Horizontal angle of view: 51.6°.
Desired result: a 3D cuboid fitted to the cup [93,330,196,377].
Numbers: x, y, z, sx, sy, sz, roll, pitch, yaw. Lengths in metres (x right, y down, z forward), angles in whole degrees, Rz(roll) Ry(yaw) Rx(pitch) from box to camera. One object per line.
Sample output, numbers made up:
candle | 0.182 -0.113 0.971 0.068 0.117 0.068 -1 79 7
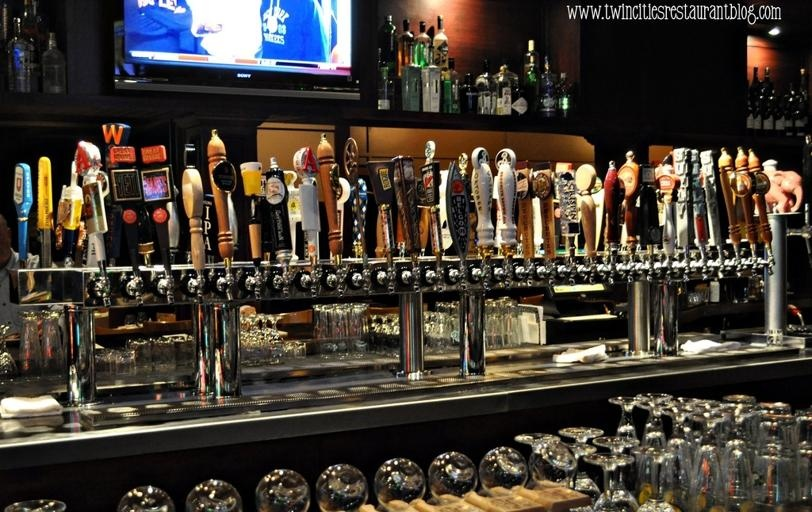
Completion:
cup | -1.078 0.416 3.472 0.390 0.157 0.285 -4 1 -23

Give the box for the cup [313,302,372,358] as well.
cup | -0.290 0.317 3.650 0.218 0.211 0.214 -1 0 0

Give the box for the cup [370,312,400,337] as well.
cup | -0.100 0.310 3.736 0.130 0.077 0.189 -3 1 -6

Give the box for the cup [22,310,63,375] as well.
cup | -1.465 0.345 3.363 0.162 0.262 0.164 -3 1 0
